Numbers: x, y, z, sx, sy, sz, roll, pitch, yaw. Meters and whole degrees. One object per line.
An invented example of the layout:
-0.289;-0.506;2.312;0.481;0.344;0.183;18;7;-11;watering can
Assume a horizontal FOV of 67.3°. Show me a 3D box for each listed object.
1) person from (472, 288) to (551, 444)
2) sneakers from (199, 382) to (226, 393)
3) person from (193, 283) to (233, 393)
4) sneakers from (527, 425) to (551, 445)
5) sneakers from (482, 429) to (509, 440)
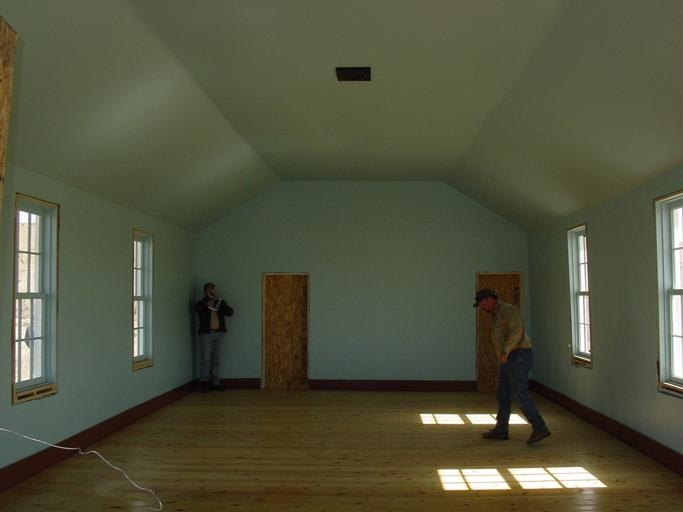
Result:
2.181;1.383;6.524;0.770;1.943;0.570;-5;-7;22;person
-2.329;2.363;9.329;0.494;0.252;0.198;-2;-3;-10;sneakers
-2.306;1.473;9.302;0.524;1.909;0.609;-5;-7;23;person
2.442;2.213;6.343;0.255;0.246;0.333;-5;-8;20;sneakers
1.984;2.308;6.586;0.337;0.172;0.133;3;-4;12;sneakers
